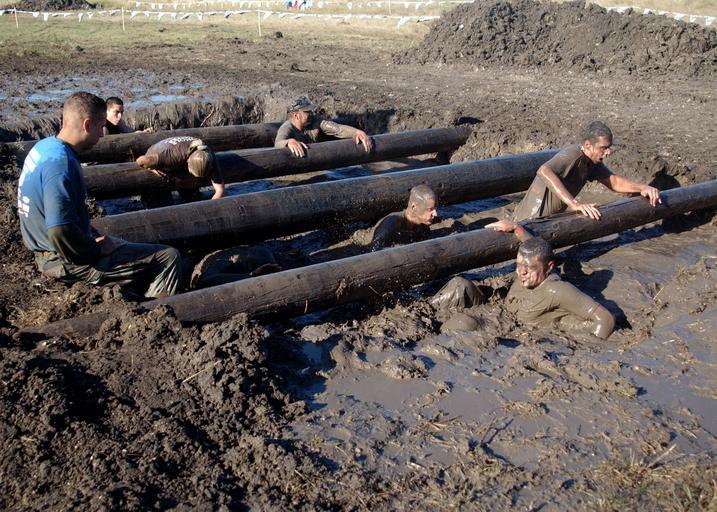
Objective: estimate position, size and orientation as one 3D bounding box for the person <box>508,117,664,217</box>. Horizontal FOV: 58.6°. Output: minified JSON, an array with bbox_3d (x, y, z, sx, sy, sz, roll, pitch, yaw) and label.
[{"bbox_3d":[3.193,-1.203,8.947,1.136,1.599,0.865,29,53,17],"label":"person"}]

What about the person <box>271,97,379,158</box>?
[{"bbox_3d":[-0.619,-2.234,10.511,1.458,0.744,3.279,2,25,-8],"label":"person"}]

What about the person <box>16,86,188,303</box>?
[{"bbox_3d":[-2.625,-0.437,6.479,1.212,2.144,1.651,26,23,39],"label":"person"}]

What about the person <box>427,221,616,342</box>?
[{"bbox_3d":[1.707,0.367,6.647,1.561,0.663,1.150,-9,27,-6],"label":"person"}]

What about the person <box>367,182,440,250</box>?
[{"bbox_3d":[0.557,-0.487,7.887,0.996,0.737,0.469,-11,32,-31],"label":"person"}]

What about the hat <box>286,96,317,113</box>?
[{"bbox_3d":[-0.887,-2.417,10.171,0.377,0.170,0.269,-9,17,-23],"label":"hat"}]
